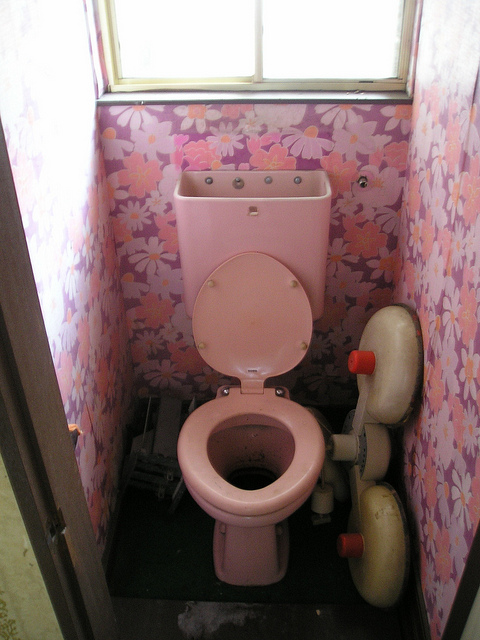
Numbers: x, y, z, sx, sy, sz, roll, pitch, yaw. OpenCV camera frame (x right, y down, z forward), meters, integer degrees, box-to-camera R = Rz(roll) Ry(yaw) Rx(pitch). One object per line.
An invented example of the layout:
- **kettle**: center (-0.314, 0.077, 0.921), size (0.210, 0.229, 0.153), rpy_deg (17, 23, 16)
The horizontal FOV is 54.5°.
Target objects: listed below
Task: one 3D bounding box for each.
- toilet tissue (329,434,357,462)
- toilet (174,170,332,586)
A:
- **toilet tissue**: center (0.329, 0.398, 1.468), size (0.064, 0.093, 0.073), rpy_deg (-2, 14, 2)
- **toilet**: center (0.030, 0.153, 1.440), size (0.469, 1.017, 0.833), rpy_deg (3, 30, 9)
